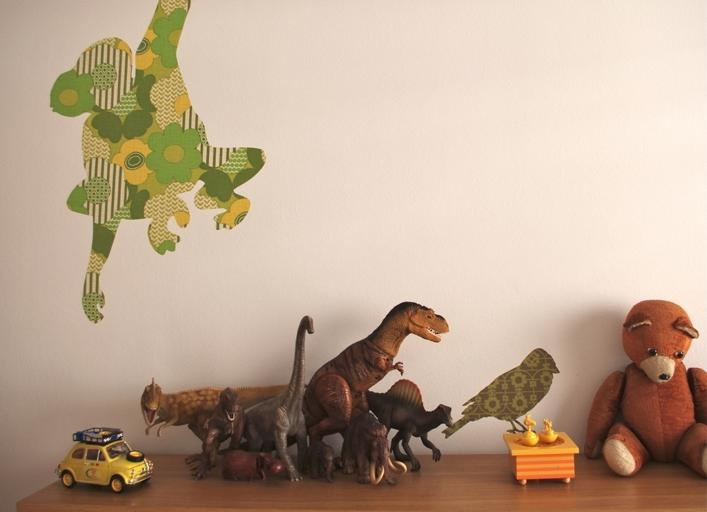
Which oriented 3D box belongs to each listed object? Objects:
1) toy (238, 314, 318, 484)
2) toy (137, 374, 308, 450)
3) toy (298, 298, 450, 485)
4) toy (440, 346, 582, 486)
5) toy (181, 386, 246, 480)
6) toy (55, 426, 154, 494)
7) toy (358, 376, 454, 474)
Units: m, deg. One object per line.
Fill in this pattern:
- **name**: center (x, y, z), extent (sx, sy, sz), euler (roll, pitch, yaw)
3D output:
- **toy**: center (-0.301, 0.544, 3.084), extent (0.269, 0.585, 0.132), euler (1, 0, -5)
- **toy**: center (-0.543, 0.651, 3.258), extent (0.646, 0.327, 0.205), euler (3, 6, -24)
- **toy**: center (-0.061, 0.509, 3.271), extent (0.870, 0.648, 0.338), euler (-12, -8, 5)
- **toy**: center (0.552, 0.648, 3.209), extent (0.559, 0.687, 0.353), euler (-2, -4, -1)
- **toy**: center (-0.551, 0.680, 3.101), extent (0.229, 0.314, 0.142), euler (1, 0, 7)
- **toy**: center (-0.940, 0.765, 3.017), extent (0.313, 0.212, 0.199), euler (0, -4, 9)
- **toy**: center (0.168, 0.654, 3.169), extent (0.452, 0.330, 0.144), euler (12, 0, 34)
